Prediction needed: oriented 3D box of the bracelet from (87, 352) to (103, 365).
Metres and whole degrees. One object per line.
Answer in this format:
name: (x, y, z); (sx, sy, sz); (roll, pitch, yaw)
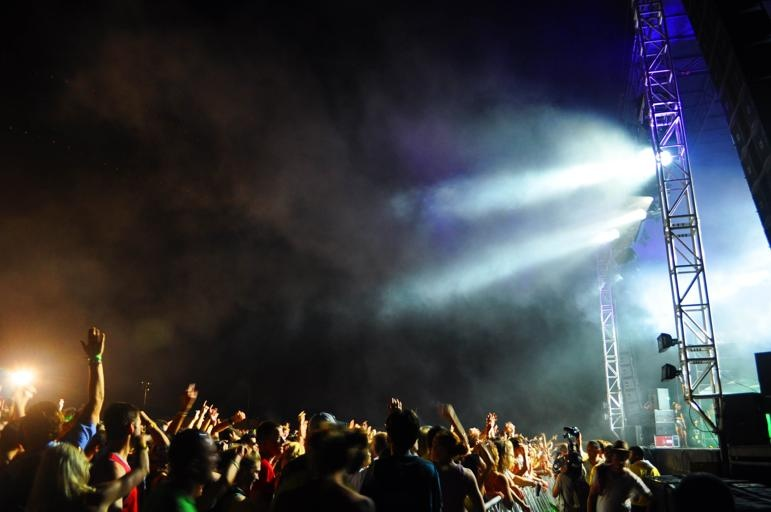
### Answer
bracelet: (-6.417, 2.270, 12.594); (0.217, 0.172, 0.224); (-3, -3, 32)

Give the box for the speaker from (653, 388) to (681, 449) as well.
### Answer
speaker: (13.058, 7.634, 26.478); (0.864, 2.836, 0.733); (-4, -35, 17)
